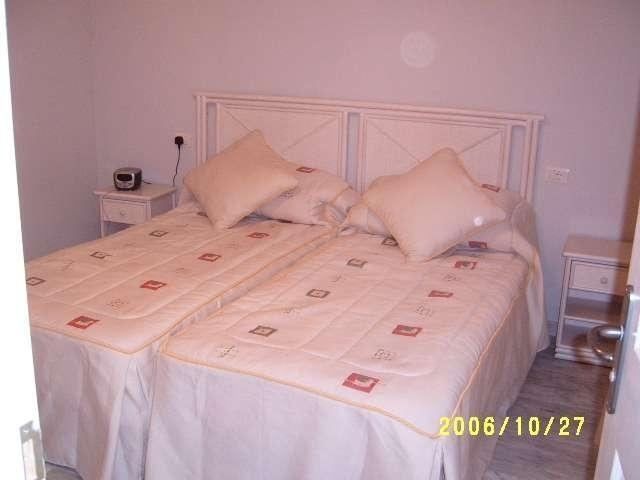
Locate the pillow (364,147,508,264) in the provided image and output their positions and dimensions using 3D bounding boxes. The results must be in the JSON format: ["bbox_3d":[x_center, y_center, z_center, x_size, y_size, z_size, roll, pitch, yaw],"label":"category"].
[{"bbox_3d":[0.686,-0.126,2.969,0.698,0.214,0.668,-29,46,-3],"label":"pillow"}]

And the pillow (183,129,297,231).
[{"bbox_3d":[-0.637,-0.224,3.448,0.770,0.192,0.833,11,-20,-18],"label":"pillow"}]

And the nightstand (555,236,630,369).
[{"bbox_3d":[1.772,0.387,3.002,0.357,0.810,0.565,7,8,33],"label":"nightstand"}]

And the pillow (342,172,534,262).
[{"bbox_3d":[0.901,-0.170,2.994,0.918,0.238,0.557,11,37,24],"label":"pillow"}]

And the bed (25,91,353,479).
[{"bbox_3d":[-0.954,-0.080,2.955,1.483,1.585,2.442,11,23,22],"label":"bed"}]

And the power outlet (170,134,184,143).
[{"bbox_3d":[-1.228,-0.879,3.957,0.082,0.085,0.023,5,5,-4],"label":"power outlet"}]
